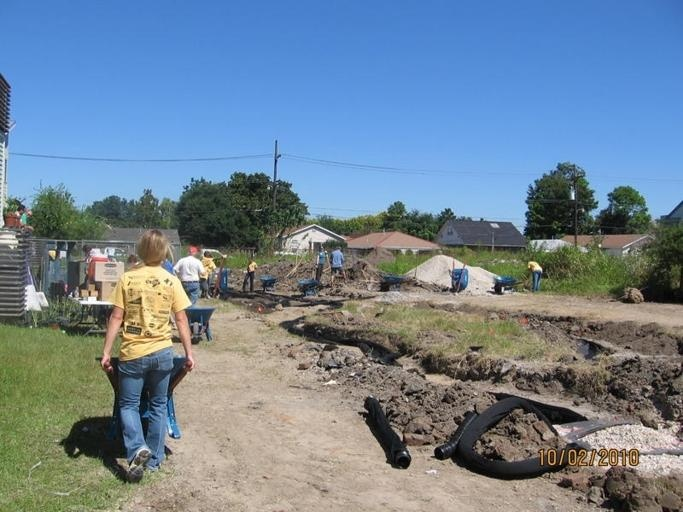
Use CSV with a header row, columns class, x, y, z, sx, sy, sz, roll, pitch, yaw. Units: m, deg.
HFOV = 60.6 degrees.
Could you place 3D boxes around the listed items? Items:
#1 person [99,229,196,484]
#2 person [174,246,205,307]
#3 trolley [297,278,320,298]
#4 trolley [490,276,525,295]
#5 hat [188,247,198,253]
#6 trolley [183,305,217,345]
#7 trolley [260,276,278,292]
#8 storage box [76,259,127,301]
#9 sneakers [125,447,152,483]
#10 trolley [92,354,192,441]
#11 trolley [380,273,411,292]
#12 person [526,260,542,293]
class,x,y,z,sx,sy,sz,roll,pitch,yaw
person,-2.222,1.133,6.692,0.946,2.805,0.630,-3,9,-29
person,-3.418,0.513,13.070,0.603,1.608,0.503,4,28,-13
trolley,-1.290,1.275,22.594,0.660,0.636,0.725,2,8,2
trolley,6.893,1.255,24.891,0.862,0.590,1.085,0,-1,1
hat,-3.507,-0.127,13.720,0.188,0.106,0.285,1,3,-11
trolley,-3.097,1.354,12.634,0.743,0.818,0.806,9,14,23
trolley,-3.003,1.155,24.201,0.637,0.768,0.626,0,0,-11
storage box,-4.758,0.481,11.536,0.430,0.790,0.760,-3,4,-31
sneakers,-2.280,2.338,6.635,0.196,0.495,0.215,19,3,-27
trolley,-2.374,1.809,7.335,1.093,1.243,1.162,1,-7,-10
trolley,2.208,1.212,25.406,0.922,0.605,2.201,5,9,16
person,8.360,0.810,25.173,0.528,1.313,2.838,5,9,19
